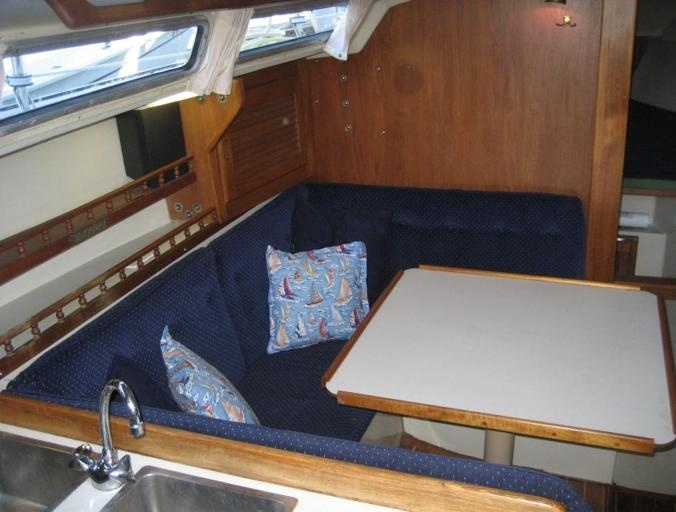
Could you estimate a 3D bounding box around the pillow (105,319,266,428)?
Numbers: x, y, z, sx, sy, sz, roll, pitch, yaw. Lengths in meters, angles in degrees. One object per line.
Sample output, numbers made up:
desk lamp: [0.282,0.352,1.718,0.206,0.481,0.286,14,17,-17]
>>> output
pillow: [-0.419,0.397,1.623,0.413,0.131,0.262,28,29,-2]

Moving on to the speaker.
speaker: [-1.515,-0.977,4.275,0.244,0.563,0.564,14,33,28]

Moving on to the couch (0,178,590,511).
couch: [0.023,0.154,2.130,1.158,0.696,1.666,10,39,22]
